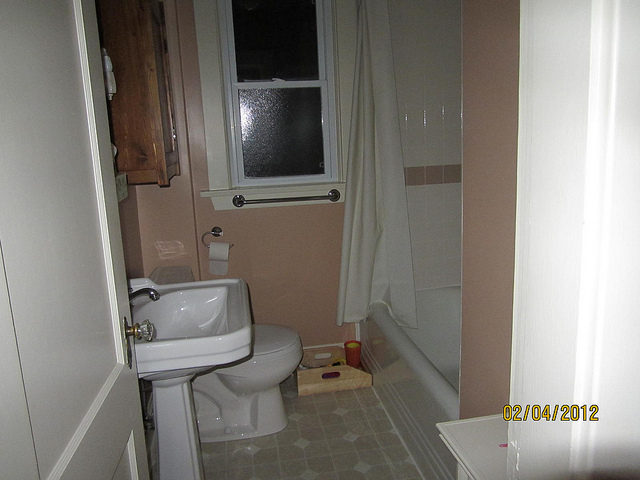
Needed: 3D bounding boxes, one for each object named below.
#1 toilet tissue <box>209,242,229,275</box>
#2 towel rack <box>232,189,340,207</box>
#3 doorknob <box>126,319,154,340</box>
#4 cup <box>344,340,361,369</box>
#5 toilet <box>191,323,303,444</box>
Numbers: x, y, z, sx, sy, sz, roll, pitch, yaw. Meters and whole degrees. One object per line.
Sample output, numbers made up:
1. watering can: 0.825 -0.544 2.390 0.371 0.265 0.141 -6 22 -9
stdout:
1. toilet tissue: -0.548 0.100 2.636 0.125 0.177 0.120 4 1 -17
2. towel rack: -0.188 -0.235 2.731 0.601 0.079 0.032 -5 13 -7
3. doorknob: -0.437 0.221 1.182 0.033 0.035 0.052 -10 -8 35
4. cup: 0.171 0.629 2.769 0.114 0.170 0.119 1 12 0
5. toilet: -0.443 0.657 2.467 0.638 0.495 0.459 -2 16 -14
